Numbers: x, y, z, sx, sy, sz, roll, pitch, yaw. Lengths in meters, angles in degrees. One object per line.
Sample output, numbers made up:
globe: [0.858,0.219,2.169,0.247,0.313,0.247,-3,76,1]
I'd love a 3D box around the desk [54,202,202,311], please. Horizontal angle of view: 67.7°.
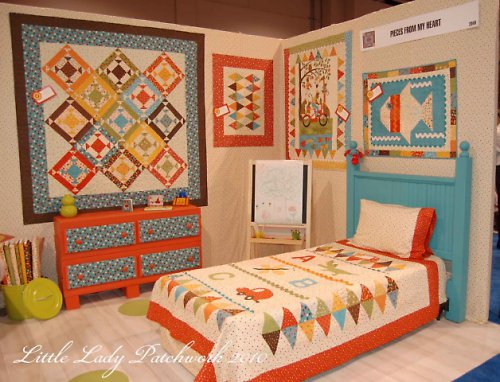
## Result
desk: [-1.360,0.674,4.336,1.552,1.024,0.544,-5,14,-31]

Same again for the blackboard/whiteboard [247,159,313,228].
blackboard/whiteboard: [0.368,0.048,4.478,0.806,0.923,0.081,0,-4,10]

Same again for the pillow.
pillow: [1.400,0.369,3.770,0.309,0.511,0.792,2,6,-40]
